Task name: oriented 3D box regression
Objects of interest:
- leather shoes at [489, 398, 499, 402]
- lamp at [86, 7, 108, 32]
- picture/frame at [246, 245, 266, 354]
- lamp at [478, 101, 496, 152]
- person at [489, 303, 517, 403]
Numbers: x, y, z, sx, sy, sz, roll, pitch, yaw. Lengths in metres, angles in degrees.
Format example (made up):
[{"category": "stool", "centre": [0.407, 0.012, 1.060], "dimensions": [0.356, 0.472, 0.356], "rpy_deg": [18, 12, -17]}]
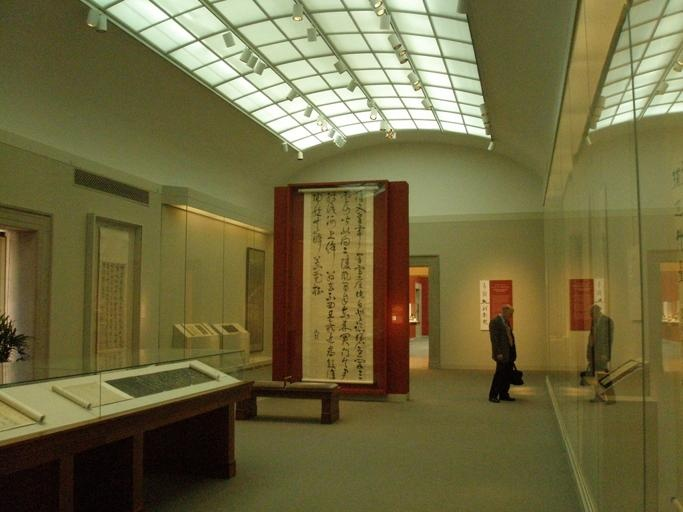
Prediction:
[{"category": "leather shoes", "centre": [2.936, 2.753, 10.933], "dimensions": [0.201, 0.049, 0.149], "rpy_deg": [0, -3, 7]}, {"category": "lamp", "centre": [-3.865, -3.742, 8.945], "dimensions": [0.300, 0.400, 0.274], "rpy_deg": [3, -4, -39]}, {"category": "picture/frame", "centre": [-2.266, 1.177, 15.095], "dimensions": [0.085, 2.742, 1.322], "rpy_deg": [3, -5, -28]}, {"category": "lamp", "centre": [3.661, -3.310, 14.408], "dimensions": [0.368, 0.364, 2.619], "rpy_deg": [-22, -15, 8]}, {"category": "person", "centre": [3.116, 1.866, 11.130], "dimensions": [0.491, 1.839, 0.680], "rpy_deg": [-1, -3, 14]}]
